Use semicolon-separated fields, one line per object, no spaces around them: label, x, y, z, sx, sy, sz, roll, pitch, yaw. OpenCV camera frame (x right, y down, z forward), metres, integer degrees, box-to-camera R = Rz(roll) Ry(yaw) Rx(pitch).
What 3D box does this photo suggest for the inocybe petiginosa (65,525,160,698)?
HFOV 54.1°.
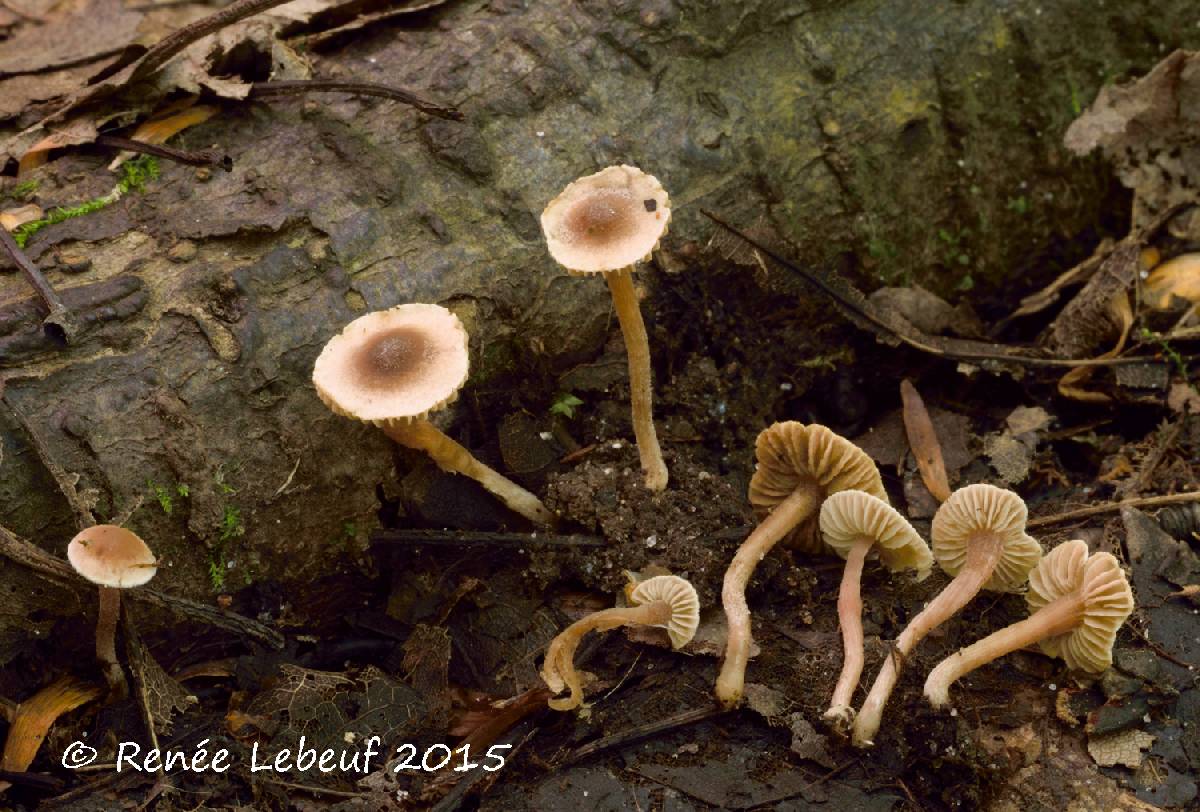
inocybe petiginosa;-2.628;1.073;6.311;0.407;0.910;0.471;-17;48;-27
